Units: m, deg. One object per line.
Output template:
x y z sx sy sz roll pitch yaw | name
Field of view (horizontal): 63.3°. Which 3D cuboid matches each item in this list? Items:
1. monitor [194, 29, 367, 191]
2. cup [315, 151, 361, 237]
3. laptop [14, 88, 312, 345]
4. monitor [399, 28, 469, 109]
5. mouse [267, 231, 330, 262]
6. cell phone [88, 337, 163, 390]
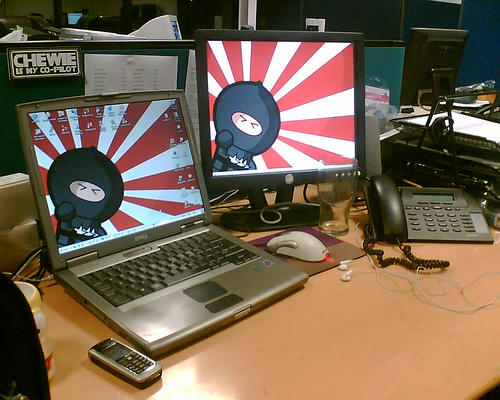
0.071 -0.243 1.065 0.416 0.357 0.032 -4 11 -14 | monitor
0.237 -0.004 1.147 0.118 0.198 0.124 2 7 0 | cup
-0.163 -0.013 0.780 0.409 0.377 0.351 -14 20 -36 | laptop
0.769 -0.567 1.722 0.328 0.293 0.101 -13 19 -34 | monitor
0.108 0.100 0.957 0.148 0.056 0.088 8 17 23 | mouse
-0.191 0.247 0.618 0.113 0.030 0.051 25 37 28 | cell phone
